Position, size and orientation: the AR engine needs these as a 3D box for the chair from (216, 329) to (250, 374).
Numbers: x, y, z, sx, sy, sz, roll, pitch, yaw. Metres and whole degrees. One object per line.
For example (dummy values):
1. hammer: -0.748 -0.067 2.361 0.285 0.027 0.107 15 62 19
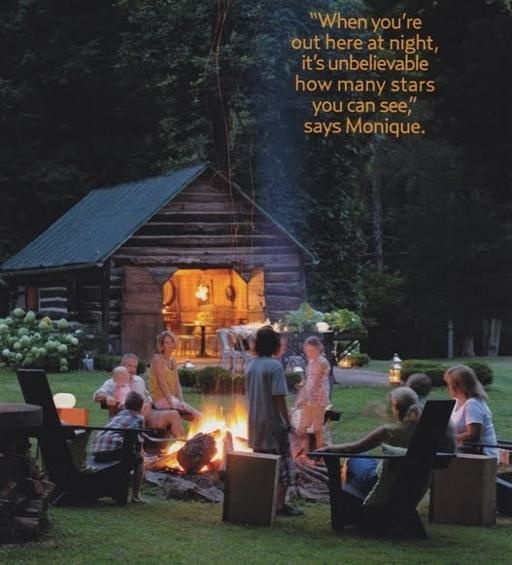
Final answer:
1. chair: -0.505 1.457 20.659 0.761 1.103 0.848 -1 4 -18

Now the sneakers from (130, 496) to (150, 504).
1. sneakers: -1.241 2.328 10.705 0.214 0.140 0.077 -2 -4 2

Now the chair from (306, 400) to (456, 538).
1. chair: 1.382 1.953 10.182 1.433 1.536 1.080 -5 -11 29

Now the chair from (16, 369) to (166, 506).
1. chair: -2.040 1.746 10.998 1.644 1.694 1.013 4 -5 -37

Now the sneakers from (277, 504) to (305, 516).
1. sneakers: 0.356 2.371 10.398 0.282 0.124 0.104 0 6 -2

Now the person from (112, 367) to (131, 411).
1. person: -1.676 1.414 12.416 0.204 0.726 0.201 3 27 -19

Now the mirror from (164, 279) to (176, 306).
1. mirror: -2.730 0.391 31.612 0.354 0.841 0.439 1 -4 -3

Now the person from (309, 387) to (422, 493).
1. person: 1.183 1.793 11.172 1.081 1.534 0.860 3 10 -40
